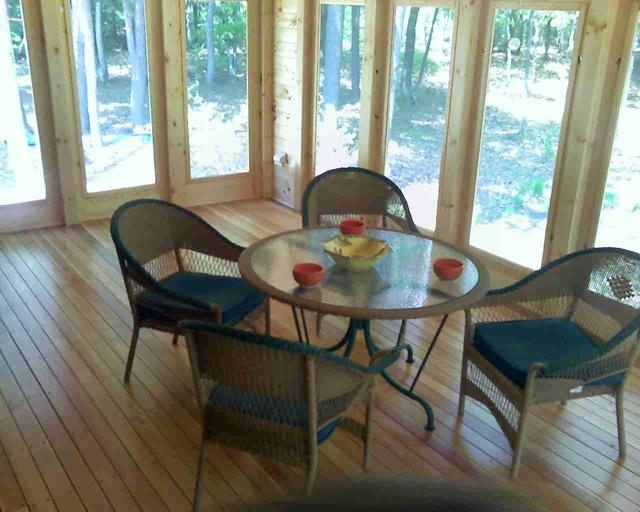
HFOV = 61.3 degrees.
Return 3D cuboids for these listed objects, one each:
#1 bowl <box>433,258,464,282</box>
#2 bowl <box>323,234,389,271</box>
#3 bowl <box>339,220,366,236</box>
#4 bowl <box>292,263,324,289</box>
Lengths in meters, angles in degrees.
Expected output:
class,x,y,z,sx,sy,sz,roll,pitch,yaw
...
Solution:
class,x,y,z,sx,sy,sz,roll,pitch,yaw
bowl,0.605,0.047,2.527,0.135,0.070,0.208,9,26,17
bowl,0.176,-0.023,2.624,0.308,0.108,0.356,1,25,-1
bowl,0.170,-0.141,2.847,0.123,0.049,0.197,1,25,0
bowl,-0.054,0.082,2.398,0.139,0.074,0.145,1,25,-1
